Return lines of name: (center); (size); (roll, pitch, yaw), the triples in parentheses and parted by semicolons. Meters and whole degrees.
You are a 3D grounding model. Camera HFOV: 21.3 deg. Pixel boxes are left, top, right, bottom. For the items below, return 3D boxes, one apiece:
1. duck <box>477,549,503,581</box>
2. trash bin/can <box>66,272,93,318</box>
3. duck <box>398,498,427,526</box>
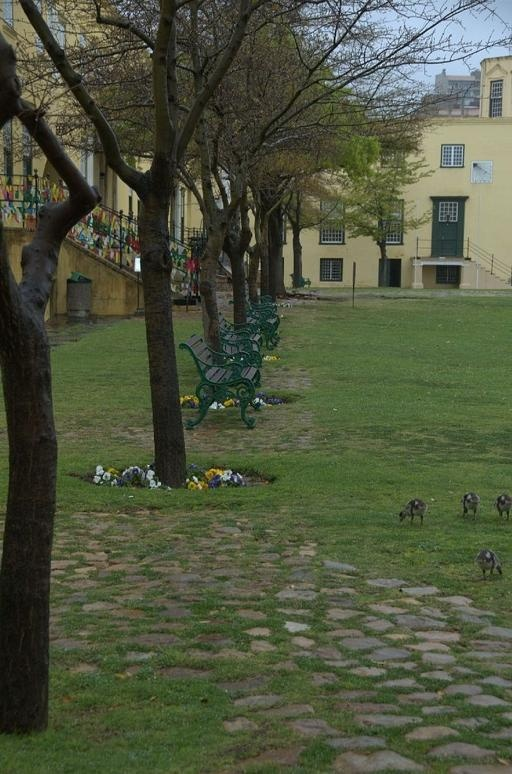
duck: (1.508, 1.105, 8.565); (0.095, 0.184, 0.299); (-3, -6, 28)
trash bin/can: (-3.581, -1.753, 27.187); (0.477, 0.910, 0.531); (-1, 4, -10)
duck: (1.140, 0.896, 9.882); (0.185, 0.193, 0.376); (1, 4, 6)
